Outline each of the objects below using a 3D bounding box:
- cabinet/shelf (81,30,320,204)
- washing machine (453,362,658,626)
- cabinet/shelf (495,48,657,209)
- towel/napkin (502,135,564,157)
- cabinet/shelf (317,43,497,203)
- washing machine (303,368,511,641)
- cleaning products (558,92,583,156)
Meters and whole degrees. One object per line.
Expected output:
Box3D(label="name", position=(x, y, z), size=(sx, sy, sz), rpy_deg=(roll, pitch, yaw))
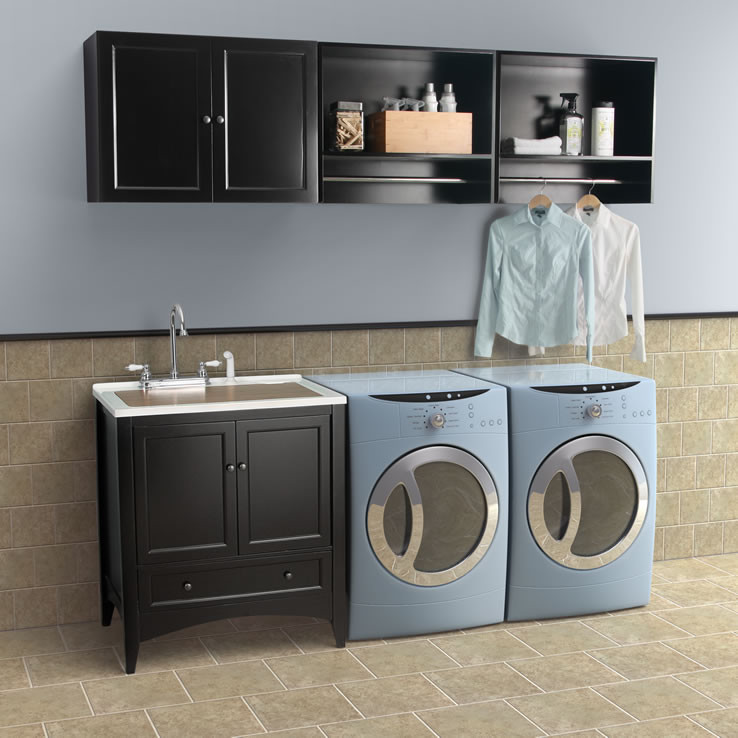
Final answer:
Box3D(label="cabinet/shelf", position=(-0.568, -0.867, 2.788), size=(0.771, 0.583, 0.258), rpy_deg=(-1, 4, -7))
Box3D(label="washing machine", position=(0.788, 0.449, 3.395), size=(0.854, 1.319, 0.844), rpy_deg=(-2, 3, -21))
Box3D(label="cabinet/shelf", position=(0.903, -1.072, 3.372), size=(0.684, 0.648, 0.229), rpy_deg=(-1, 4, -11))
Box3D(label="towel/napkin", position=(0.706, -0.953, 3.295), size=(0.274, 0.107, 0.171), rpy_deg=(0, 2, -1))
Box3D(label="cabinet/shelf", position=(0.140, -1.012, 3.125), size=(0.673, 0.604, 0.227), rpy_deg=(-2, 5, -17))
Box3D(label="washing machine", position=(0.174, 0.484, 3.202), size=(0.831, 1.281, 0.822), rpy_deg=(-2, 5, -20))
Box3D(label="cleaning products", position=(0.893, -1.070, 3.373), size=(0.105, 0.340, 0.304), rpy_deg=(0, 2, 15))
